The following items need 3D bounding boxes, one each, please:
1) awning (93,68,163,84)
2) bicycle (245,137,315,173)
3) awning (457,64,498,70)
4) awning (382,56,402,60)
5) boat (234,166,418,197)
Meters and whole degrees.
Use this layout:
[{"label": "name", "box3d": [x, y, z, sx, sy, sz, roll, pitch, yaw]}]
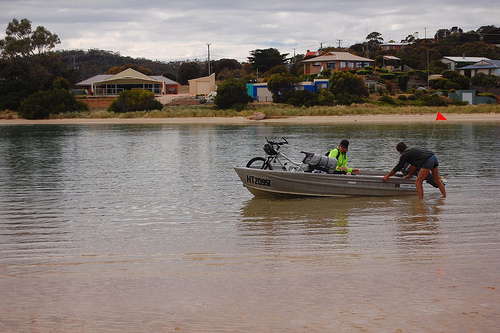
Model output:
[{"label": "awning", "box3d": [-21.184, -15.832, 127.074, 8.909, 2.389, 3.454, -2, 5, -11]}, {"label": "bicycle", "box3d": [1.193, -0.321, 28.005, 2.581, 1.231, 1.152, 8, 4, 7]}, {"label": "awning", "box3d": [36.726, -16.009, 117.571, 1.664, 0.836, 6.584, -4, 5, -27]}, {"label": "awning", "box3d": [25.425, -19.412, 130.823, 2.949, 0.844, 4.241, 0, 4, 15]}, {"label": "boat", "box3d": [3.040, 0.753, 27.705, 7.057, 1.017, 1.499, 3, -5, -5]}]
